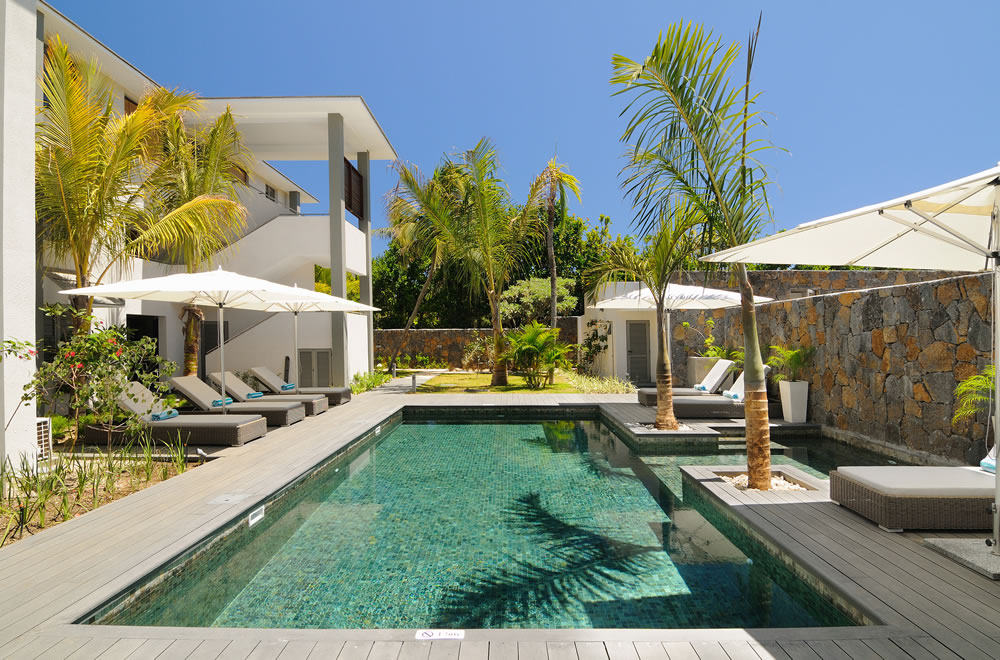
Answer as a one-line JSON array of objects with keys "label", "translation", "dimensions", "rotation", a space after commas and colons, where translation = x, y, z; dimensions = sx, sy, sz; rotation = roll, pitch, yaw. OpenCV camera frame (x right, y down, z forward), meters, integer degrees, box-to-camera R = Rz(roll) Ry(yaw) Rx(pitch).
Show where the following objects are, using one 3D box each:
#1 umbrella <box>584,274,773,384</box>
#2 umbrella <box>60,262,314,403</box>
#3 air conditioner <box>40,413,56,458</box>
[{"label": "umbrella", "translation": [4.342, -0.130, 19.305], "dimensions": [3.937, 2.884, 3.712], "rotation": [0, -2, 1]}, {"label": "umbrella", "translation": [-6.758, 0.098, 14.463], "dimensions": [3.465, 2.112, 3.146], "rotation": [1, -2, -33]}, {"label": "air conditioner", "translation": [-6.973, 1.616, 10.321], "dimensions": [0.177, 0.622, 0.290], "rotation": [-5, 13, -21]}]
